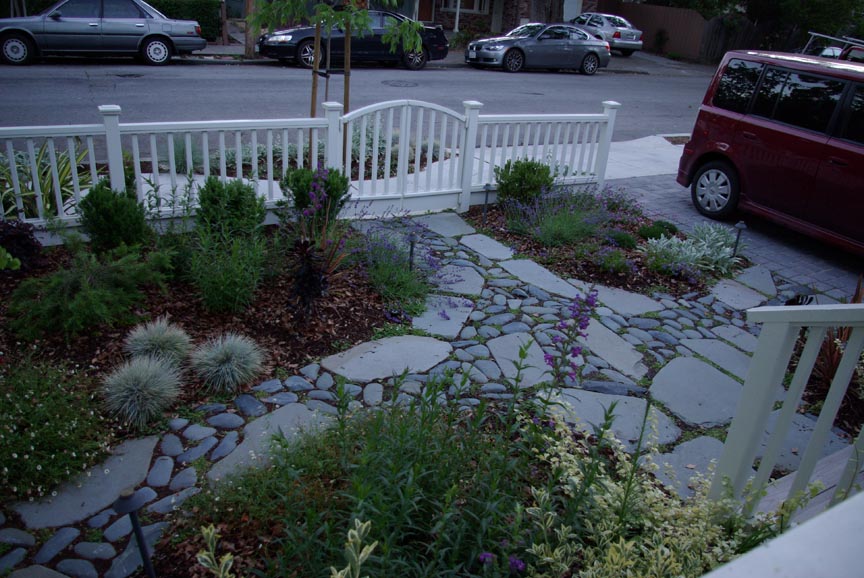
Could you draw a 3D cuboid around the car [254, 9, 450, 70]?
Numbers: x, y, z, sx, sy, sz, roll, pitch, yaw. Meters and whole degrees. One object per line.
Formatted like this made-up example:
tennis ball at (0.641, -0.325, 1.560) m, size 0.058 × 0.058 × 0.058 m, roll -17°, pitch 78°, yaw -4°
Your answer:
car at (-2.488, -8.266, 17.423) m, size 5.433 × 1.802 × 3.111 m, roll -22°, pitch 37°, yaw -40°
